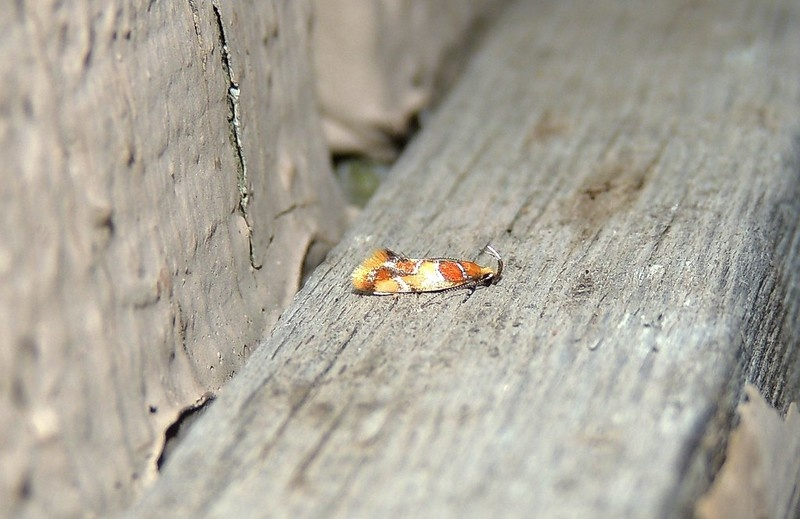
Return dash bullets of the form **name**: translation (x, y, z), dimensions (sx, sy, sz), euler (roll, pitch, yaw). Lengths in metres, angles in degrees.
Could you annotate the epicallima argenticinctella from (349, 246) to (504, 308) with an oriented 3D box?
- **epicallima argenticinctella**: translation (0.087, 0.062, 3.856), dimensions (0.502, 0.223, 0.243), euler (0, 55, 8)
